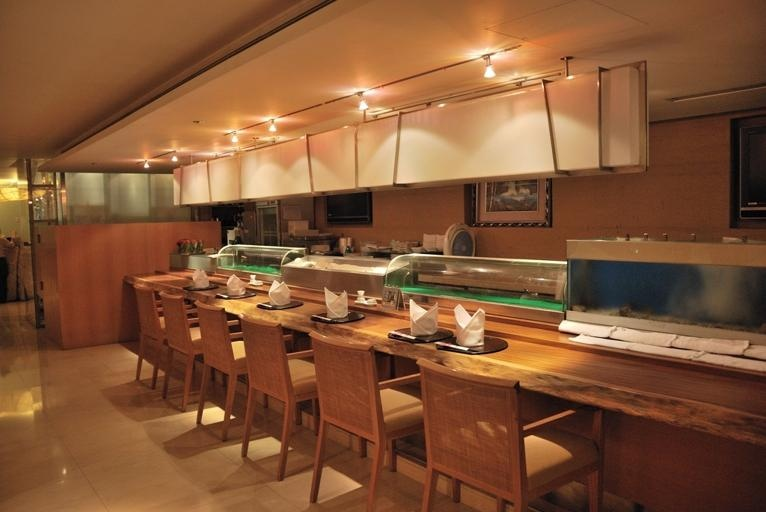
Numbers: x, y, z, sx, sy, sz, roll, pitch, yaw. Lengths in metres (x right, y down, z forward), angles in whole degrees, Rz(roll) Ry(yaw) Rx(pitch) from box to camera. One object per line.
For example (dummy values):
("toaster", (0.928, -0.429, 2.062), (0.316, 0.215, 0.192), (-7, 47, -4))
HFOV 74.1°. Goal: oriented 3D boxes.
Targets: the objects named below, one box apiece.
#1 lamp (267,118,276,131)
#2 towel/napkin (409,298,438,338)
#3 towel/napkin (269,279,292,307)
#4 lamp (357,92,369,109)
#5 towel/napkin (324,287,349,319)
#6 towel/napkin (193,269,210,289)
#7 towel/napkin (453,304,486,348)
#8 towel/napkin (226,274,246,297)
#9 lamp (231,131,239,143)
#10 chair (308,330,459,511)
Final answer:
("lamp", (-1.253, -1.470, 5.760), (0.084, 0.128, 0.071), (1, 23, 1))
("towel/napkin", (0.325, 0.475, 3.903), (0.262, 0.233, 0.254), (1, -2, -4))
("towel/napkin", (-1.035, 0.381, 5.043), (0.229, 0.213, 0.228), (-1, -2, -24))
("lamp", (-0.185, -1.435, 4.733), (0.153, 0.154, 0.148), (-2, 4, 2))
("towel/napkin", (-0.403, 0.408, 4.481), (0.238, 0.227, 0.249), (3, 8, 17))
("towel/napkin", (-2.171, 0.277, 6.100), (0.232, 0.215, 0.209), (-5, 4, 38))
("towel/napkin", (0.619, 0.485, 3.633), (0.169, 0.272, 0.271), (-13, 16, -40))
("towel/napkin", (-1.593, 0.318, 5.619), (0.239, 0.238, 0.232), (8, 7, 39))
("lamp", (-1.783, -1.443, 6.107), (0.112, 0.103, 0.071), (0, 2, -18))
("chair", (-0.196, 1.004, 4.081), (1.199, 1.616, 1.014), (-6, 8, -41))
